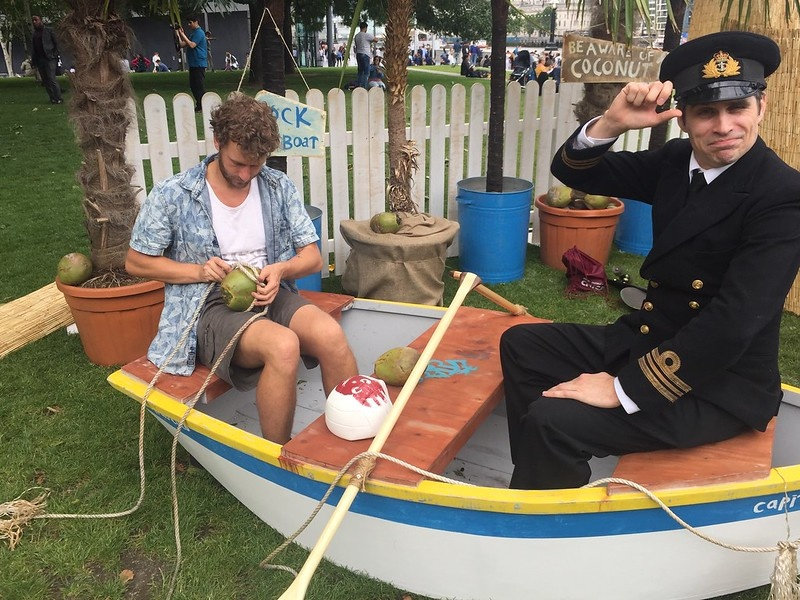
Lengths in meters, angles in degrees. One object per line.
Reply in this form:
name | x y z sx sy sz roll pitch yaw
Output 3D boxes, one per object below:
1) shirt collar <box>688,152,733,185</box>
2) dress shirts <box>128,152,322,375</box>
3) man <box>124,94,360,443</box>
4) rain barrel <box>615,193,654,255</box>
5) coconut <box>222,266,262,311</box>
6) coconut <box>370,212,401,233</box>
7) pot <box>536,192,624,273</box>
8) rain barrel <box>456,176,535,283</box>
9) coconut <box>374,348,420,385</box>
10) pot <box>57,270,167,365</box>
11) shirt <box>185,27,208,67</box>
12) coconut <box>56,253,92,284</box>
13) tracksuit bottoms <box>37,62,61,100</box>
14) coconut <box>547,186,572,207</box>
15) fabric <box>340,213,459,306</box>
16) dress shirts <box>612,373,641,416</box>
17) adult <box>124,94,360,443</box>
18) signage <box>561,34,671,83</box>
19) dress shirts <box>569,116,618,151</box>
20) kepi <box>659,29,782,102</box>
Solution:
shirt collar | 1.473 -0.640 2.981 0.136 0.129 0.160 9 40 29
dress shirts | -1.056 -0.169 3.660 1.302 1.406 0.758 -11 41 -36
man | -0.817 -0.097 3.654 1.336 2.013 1.015 14 22 34
rain barrel | 2.595 -0.787 6.880 0.452 0.491 0.445 1 15 -20
coconut | -0.882 -0.076 3.549 0.183 0.205 0.251 29 10 9
coconut | -0.132 -0.649 5.337 0.222 0.185 0.210 0 8 22
pot | 1.713 -0.718 6.224 0.811 0.596 0.797 -1 26 0
rain barrel | 0.953 -0.712 6.307 0.773 0.897 0.769 1 20 2
coconut | -0.002 0.363 3.443 0.229 0.187 0.181 -11 17 15
pot | -2.077 0.140 4.705 0.681 0.531 0.700 5 20 -2
shirt | -4.292 -5.336 13.001 0.333 0.800 0.499 1 22 3
coconut | -2.407 -0.232 4.577 0.184 0.176 0.210 22 42 17
tracksuit bottoms | -8.207 -5.163 14.518 0.346 1.010 0.267 -9 1 25
coconut | 1.560 -1.027 6.109 0.196 0.134 0.228 4 22 27
fabric | -0.019 -0.482 5.443 0.853 0.779 0.828 1 20 -6
dress shirts | 1.043 0.449 2.938 0.122 0.133 0.132 17 38 1
adult | -0.839 -0.089 3.637 1.344 2.023 1.023 18 24 38
signage | 1.918 -2.126 5.487 1.202 0.391 0.023 -8 17 -26
dress shirts | 1.037 -0.876 3.329 0.208 0.163 0.193 4 -10 1
kepi | 1.498 -1.086 2.944 0.494 0.272 0.589 2 10 27
